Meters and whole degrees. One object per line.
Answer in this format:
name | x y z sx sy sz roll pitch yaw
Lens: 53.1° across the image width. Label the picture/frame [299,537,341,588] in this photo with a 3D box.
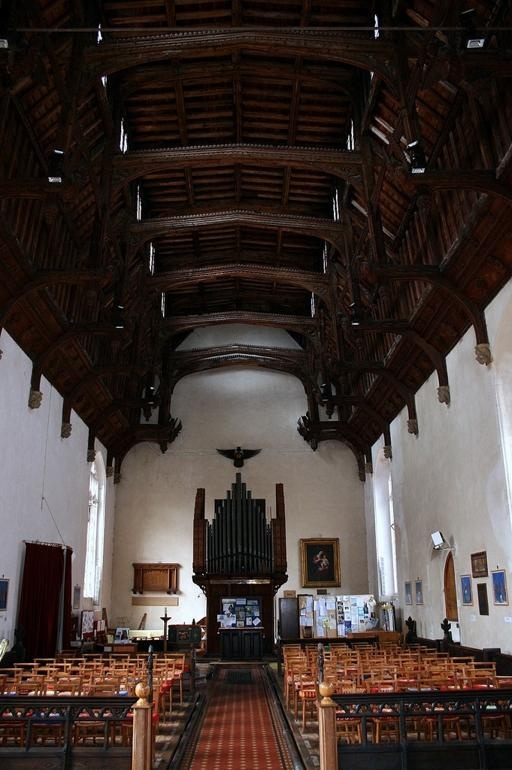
picture/frame | 2.537 7.049 20.115 1.449 1.951 0.229 0 -22 -4
